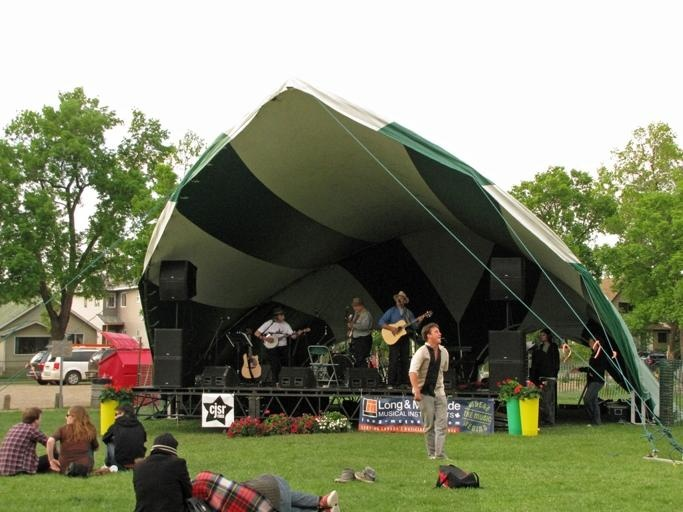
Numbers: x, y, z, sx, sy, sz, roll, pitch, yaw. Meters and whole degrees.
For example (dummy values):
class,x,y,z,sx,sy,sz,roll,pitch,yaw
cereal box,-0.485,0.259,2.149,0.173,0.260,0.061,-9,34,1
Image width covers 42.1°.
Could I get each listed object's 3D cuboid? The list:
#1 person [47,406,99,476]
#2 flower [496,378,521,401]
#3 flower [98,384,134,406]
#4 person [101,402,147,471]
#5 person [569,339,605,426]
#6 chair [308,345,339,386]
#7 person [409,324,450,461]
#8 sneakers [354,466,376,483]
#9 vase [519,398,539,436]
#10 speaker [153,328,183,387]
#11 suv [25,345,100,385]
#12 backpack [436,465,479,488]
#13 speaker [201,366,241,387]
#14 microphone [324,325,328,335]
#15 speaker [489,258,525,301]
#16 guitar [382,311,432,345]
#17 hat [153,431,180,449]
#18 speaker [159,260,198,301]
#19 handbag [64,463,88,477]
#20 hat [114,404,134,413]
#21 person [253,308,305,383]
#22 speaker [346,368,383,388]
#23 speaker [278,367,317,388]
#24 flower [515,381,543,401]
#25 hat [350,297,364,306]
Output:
class,x,y,z,sx,sy,sz,roll,pitch,yaw
person,-4.891,3.251,15.897,0.777,1.227,1.174,0,-4,-23
flower,3.574,2.792,18.767,0.407,0.265,0.408,3,8,18
flower,-5.022,3.020,19.623,0.640,0.400,0.672,2,1,6
person,-3.944,3.227,16.004,0.757,1.130,0.773,3,-10,-23
person,5.887,2.882,20.557,0.583,2.050,1.255,-5,-16,16
chair,-0.530,2.881,23.543,0.617,1.129,0.769,0,4,14
person,1.625,2.416,16.242,0.592,2.515,0.850,-5,-16,16
sneakers,0.360,3.644,14.840,0.192,0.151,0.318,7,-7,-33
vase,3.895,3.333,18.400,0.375,0.782,0.315,-3,-15,9
speaker,-4.062,2.341,20.598,0.671,1.303,0.408,3,-15,-13
suv,-12.135,4.642,38.458,2.183,1.921,2.326,-12,-19,35
backpack,1.902,3.629,14.557,0.484,0.199,0.380,7,0,19
speaker,-2.955,2.866,21.145,0.914,0.582,0.665,2,-16,-9
microphone,-0.484,2.141,25.819,0.115,0.215,0.114,3,-15,-11
speaker,3.705,0.537,20.166,0.840,1.227,0.872,-2,-12,9
guitar,1.533,1.704,21.958,1.480,0.597,0.201,-28,2,-31
hat,-2.553,2.694,12.995,0.235,0.180,0.339,3,-8,8
speaker,-3.917,0.579,20.971,0.738,0.969,0.724,-1,-15,3
handbag,-4.602,3.683,15.308,0.315,0.166,0.204,22,-16,-9
hat,-3.933,2.685,15.866,0.228,0.184,0.188,4,-5,30
person,-1.673,2.333,23.020,0.781,1.922,1.165,-8,-17,26
speaker,0.488,2.805,20.417,0.657,0.409,0.439,2,-5,-5
speaker,-1.061,2.817,20.708,0.892,0.567,0.494,0,-15,-2
flower,3.888,2.788,18.517,0.396,0.267,0.399,1,-3,-6
hat,0.336,1.112,22.060,0.212,0.251,0.274,-4,-17,11
